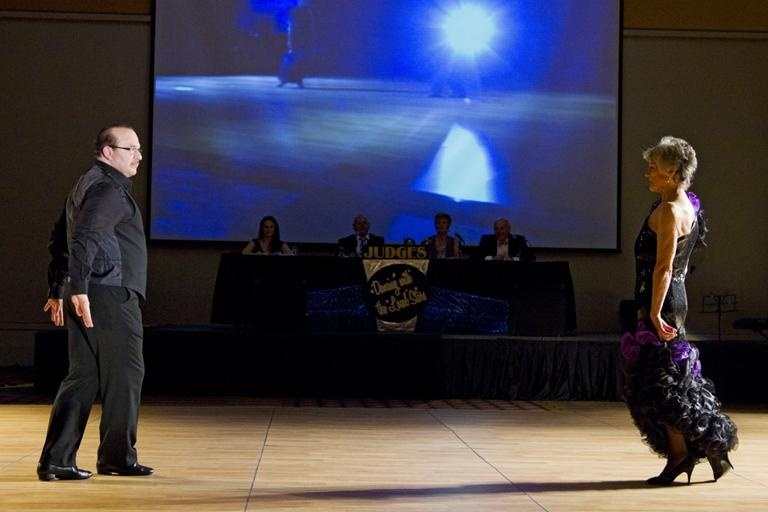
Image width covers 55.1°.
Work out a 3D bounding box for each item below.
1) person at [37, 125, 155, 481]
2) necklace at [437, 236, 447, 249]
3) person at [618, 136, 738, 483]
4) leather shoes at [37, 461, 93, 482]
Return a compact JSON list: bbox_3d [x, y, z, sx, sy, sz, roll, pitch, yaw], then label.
[{"bbox_3d":[-1.761,0.275,4.527,0.645,2.188,0.388,0,3,-16],"label":"person"},{"bbox_3d":[0.649,-0.153,8.255,0.104,0.138,0.039,-1,-1,3],"label":"necklace"},{"bbox_3d":[1.853,0.337,4.640,0.680,2.178,0.353,2,3,12],"label":"person"},{"bbox_3d":[-1.958,1.329,4.549,0.331,0.122,0.117,1,0,-16],"label":"leather shoes"}]
